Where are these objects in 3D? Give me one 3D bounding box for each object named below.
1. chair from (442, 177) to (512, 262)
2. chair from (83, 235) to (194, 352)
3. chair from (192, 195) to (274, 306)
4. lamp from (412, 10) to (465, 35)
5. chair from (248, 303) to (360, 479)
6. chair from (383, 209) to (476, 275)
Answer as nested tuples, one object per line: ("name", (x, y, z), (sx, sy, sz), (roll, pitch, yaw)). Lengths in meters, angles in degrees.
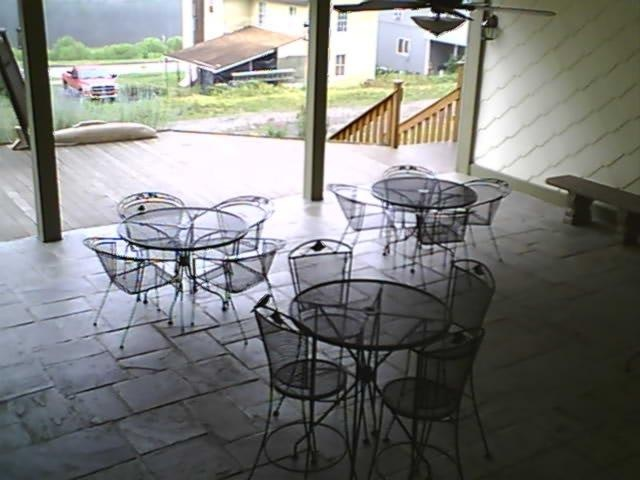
("chair", (1.876, -0.205, 6.368), (0.804, 0.938, 0.776), (-1, 39, 0))
("chair", (-1.674, 0.535, 4.957), (0.695, 0.779, 0.641), (-20, 41, -35))
("chair", (-0.871, 0.138, 5.363), (0.797, 0.982, 0.826), (-17, 42, -27))
("lamp", (0.899, -1.664, 4.092), (0.245, 0.130, 0.284), (-16, 26, -39))
("chair", (-0.098, 1.088, 3.681), (0.669, 1.170, 0.620), (7, 33, 11))
("chair", (1.128, -0.078, 5.804), (0.923, 0.631, 0.905), (14, -2, 9))
